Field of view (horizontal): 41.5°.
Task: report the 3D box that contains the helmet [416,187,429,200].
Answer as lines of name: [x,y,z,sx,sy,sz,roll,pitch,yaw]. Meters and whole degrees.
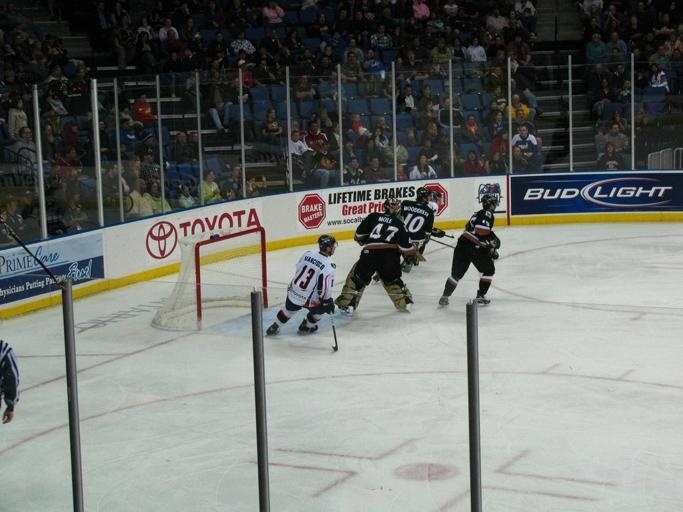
helmet: [1.232,-0.920,13.392,0.192,0.173,0.149,6,9,-20]

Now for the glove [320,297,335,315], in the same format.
glove: [-0.137,0.541,9.499,0.142,0.169,0.070,11,33,24]

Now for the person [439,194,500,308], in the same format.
person: [1.698,-0.080,11.710,0.617,1.317,0.980,-1,10,14]

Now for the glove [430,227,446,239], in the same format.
glove: [1.447,-0.357,13.454,0.196,0.069,0.190,11,-21,35]

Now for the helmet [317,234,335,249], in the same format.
helmet: [-0.193,-0.150,10.453,0.189,0.178,0.145,-15,49,11]

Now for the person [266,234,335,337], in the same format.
person: [-0.359,0.397,10.366,0.709,1.286,0.552,16,16,12]

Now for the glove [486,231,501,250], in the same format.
glove: [2.005,-0.189,12.023,0.201,0.242,0.104,-15,-4,-25]
